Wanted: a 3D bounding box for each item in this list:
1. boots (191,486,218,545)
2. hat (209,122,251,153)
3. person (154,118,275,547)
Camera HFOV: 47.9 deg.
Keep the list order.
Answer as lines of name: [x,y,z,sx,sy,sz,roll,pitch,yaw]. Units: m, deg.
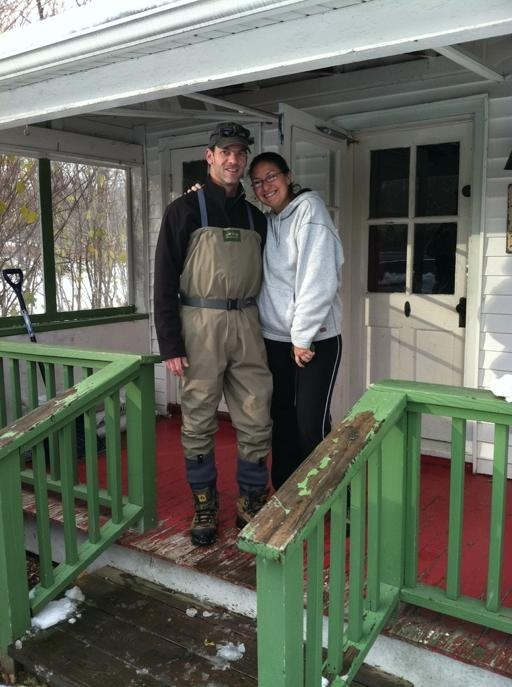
boots: [-0.215,0.751,2.425,0.091,0.125,0.266,0,5,1]
hat: [-0.103,-0.820,2.321,0.116,0.085,0.153,0,9,-19]
person: [-0.146,-0.027,2.434,0.536,1.725,0.351,-7,13,-15]
